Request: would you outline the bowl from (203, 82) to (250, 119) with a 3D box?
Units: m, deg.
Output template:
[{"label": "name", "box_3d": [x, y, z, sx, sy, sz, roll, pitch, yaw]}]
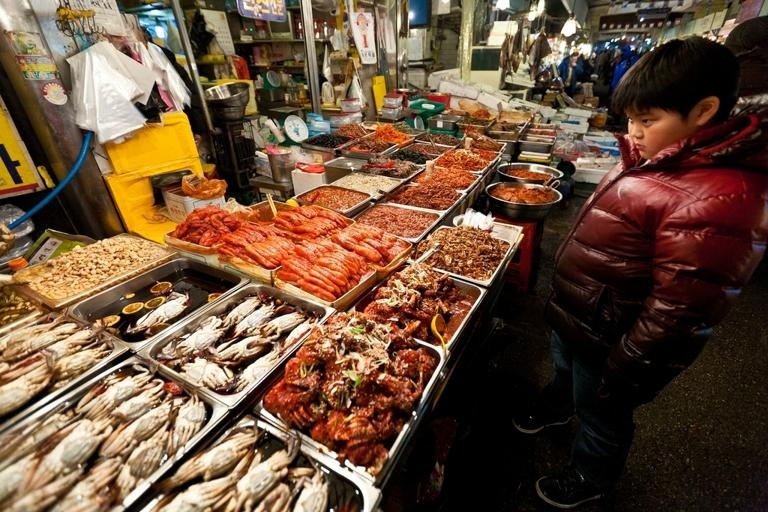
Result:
[{"label": "bowl", "box_3d": [-2.110, -2.078, 5.995, 0.568, 0.412, 0.732, -12, 30, -16]}]

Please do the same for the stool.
[{"label": "stool", "box_3d": [1.510, -0.017, 5.029, 0.575, 0.657, 0.735, 19, 35, 29]}]

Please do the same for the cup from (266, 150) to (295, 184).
[{"label": "cup", "box_3d": [-1.252, -1.090, 5.413, 0.292, 0.414, 0.214, -10, 31, -11]}]

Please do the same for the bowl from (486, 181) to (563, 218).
[{"label": "bowl", "box_3d": [1.647, -0.660, 5.190, 0.682, 0.216, 0.619, -7, 28, -12]}]

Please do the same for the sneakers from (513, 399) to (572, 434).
[{"label": "sneakers", "box_3d": [1.418, 1.549, 4.257, 0.740, 0.273, 0.240, -4, 43, -3]}]

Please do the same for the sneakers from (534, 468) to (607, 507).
[{"label": "sneakers", "box_3d": [1.514, 2.011, 3.854, 0.710, 0.248, 0.249, 0, 53, 2]}]
